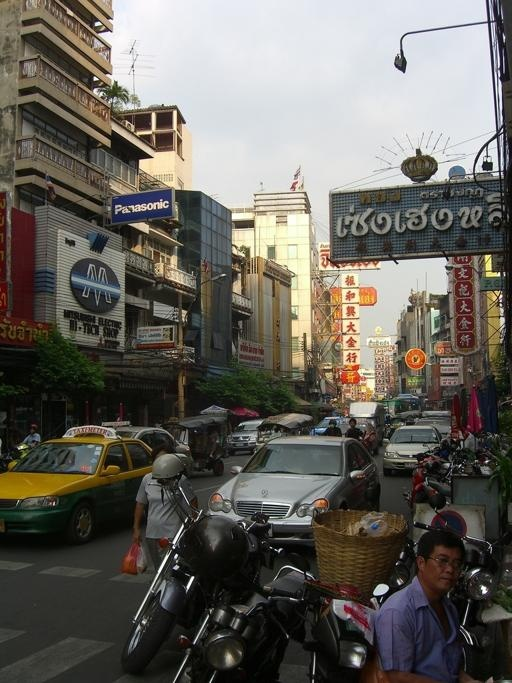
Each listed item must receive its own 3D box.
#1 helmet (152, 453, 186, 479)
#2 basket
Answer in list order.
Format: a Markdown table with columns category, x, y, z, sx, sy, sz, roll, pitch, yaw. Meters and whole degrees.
| category | x | y | z | sx | sy | sz | roll | pitch | yaw |
| --- | --- | --- | --- | --- | --- | --- | --- | --- | --- |
| helmet | -0.610 | 0.862 | 5.293 | 0.155 | 0.166 | 0.209 | -14 | -21 | -8 |
| basket | 0.671 | 1.377 | 5.350 | 0.709 | 0.548 | 0.665 | 0 | -4 | 21 |
